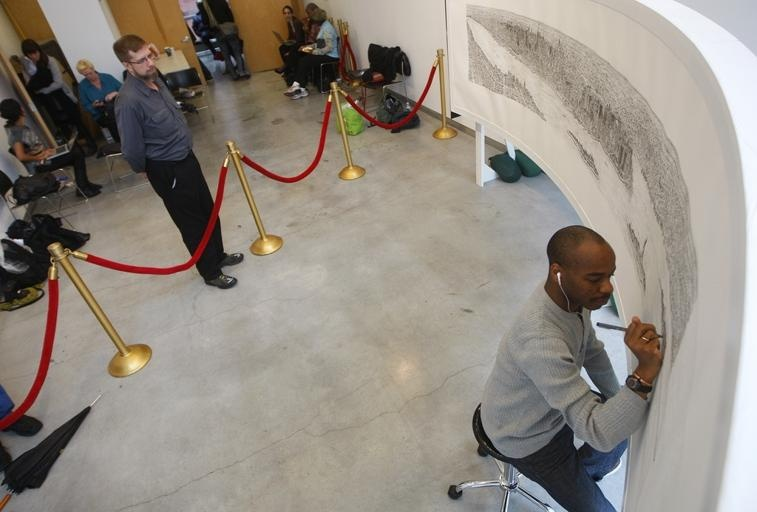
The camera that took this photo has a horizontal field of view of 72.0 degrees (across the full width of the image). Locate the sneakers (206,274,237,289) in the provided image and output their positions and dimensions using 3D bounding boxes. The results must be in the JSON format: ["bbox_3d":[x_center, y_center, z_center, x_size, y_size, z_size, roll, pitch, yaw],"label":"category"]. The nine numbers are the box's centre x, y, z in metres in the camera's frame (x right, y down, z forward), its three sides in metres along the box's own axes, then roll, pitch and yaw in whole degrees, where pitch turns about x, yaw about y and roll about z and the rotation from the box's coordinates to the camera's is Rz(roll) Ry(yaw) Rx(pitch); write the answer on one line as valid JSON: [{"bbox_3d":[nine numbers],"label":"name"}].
[{"bbox_3d":[-1.570,0.262,5.209,0.278,0.127,0.151,-1,38,2],"label":"sneakers"}]

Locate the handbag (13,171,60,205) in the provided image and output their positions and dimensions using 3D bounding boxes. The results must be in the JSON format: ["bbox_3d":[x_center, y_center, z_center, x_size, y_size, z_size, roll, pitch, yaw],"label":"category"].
[{"bbox_3d":[-4.075,-0.817,6.169,0.413,0.169,0.417,-17,32,-16],"label":"handbag"}]

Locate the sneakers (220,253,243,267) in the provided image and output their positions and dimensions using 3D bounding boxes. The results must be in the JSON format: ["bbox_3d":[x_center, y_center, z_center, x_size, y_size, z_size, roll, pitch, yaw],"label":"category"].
[{"bbox_3d":[-1.536,0.024,5.466,0.232,0.095,0.095,-16,39,-15],"label":"sneakers"}]

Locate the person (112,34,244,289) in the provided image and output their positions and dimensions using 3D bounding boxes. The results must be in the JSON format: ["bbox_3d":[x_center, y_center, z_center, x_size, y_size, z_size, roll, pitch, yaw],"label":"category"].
[{"bbox_3d":[-1.842,-0.733,4.739,0.675,2.252,0.942,-25,49,-22],"label":"person"}]

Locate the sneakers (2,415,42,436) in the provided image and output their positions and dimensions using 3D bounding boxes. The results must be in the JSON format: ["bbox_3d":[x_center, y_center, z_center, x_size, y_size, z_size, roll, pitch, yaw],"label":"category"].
[{"bbox_3d":[-2.789,1.338,4.103,0.258,0.088,0.155,11,39,-15],"label":"sneakers"}]

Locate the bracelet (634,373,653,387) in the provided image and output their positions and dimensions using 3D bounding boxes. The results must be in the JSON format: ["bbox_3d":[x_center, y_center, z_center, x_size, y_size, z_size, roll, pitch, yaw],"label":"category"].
[{"bbox_3d":[1.126,0.526,2.206,0.046,0.014,0.049,34,15,20],"label":"bracelet"}]

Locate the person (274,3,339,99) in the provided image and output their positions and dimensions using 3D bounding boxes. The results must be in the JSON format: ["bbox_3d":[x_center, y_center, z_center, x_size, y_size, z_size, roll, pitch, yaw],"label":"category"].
[{"bbox_3d":[-1.299,-3.971,10.048,1.113,1.640,1.214,-10,45,-9],"label":"person"}]

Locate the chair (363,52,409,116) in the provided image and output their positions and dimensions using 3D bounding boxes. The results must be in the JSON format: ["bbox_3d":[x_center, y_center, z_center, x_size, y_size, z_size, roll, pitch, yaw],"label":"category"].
[{"bbox_3d":[0.049,-2.814,8.270,0.624,0.874,0.862,-21,29,-25],"label":"chair"}]

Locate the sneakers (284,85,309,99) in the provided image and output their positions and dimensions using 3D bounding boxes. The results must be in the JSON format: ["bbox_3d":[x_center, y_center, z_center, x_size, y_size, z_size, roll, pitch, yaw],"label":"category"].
[{"bbox_3d":[-1.642,-3.199,10.093,0.576,0.279,0.211,-10,46,-18],"label":"sneakers"}]

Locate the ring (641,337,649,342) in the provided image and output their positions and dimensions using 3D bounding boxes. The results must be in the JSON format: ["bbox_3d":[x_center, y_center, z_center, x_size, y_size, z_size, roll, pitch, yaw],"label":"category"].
[{"bbox_3d":[1.143,0.359,2.234,0.022,0.010,0.019,8,46,10],"label":"ring"}]
